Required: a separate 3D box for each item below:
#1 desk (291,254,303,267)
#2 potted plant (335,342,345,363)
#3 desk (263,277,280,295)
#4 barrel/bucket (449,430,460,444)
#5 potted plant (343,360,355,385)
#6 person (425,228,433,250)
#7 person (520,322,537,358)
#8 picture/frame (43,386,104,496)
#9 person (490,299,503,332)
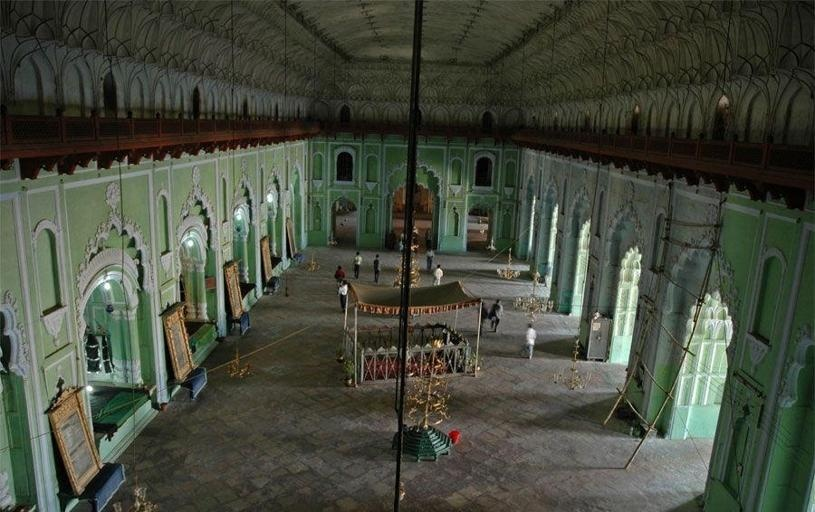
[{"bbox_3d":[-6.000,0.210,27.531,0.420,0.615,1.117,2,5,14],"label":"desk"},{"bbox_3d":[-2.320,3.324,17.255,0.257,0.459,0.754,-1,5,-10],"label":"potted plant"},{"bbox_3d":[-6.308,1.323,23.183,0.543,0.756,0.933,0,5,-1],"label":"desk"},{"bbox_3d":[1.268,4.811,13.453,0.284,0.358,0.199,2,-7,-10],"label":"barrel/bucket"},{"bbox_3d":[-1.853,3.692,15.869,0.282,0.762,0.363,0,6,-8],"label":"potted plant"},{"bbox_3d":[1.392,-1.070,31.729,0.319,1.229,1.127,0,6,-7],"label":"person"},{"bbox_3d":[4.485,3.007,18.284,0.408,1.226,1.258,2,6,13],"label":"person"},{"bbox_3d":[-7.444,4.087,11.274,0.498,2.272,0.965,1,6,4],"label":"picture/frame"},{"bbox_3d":[3.569,2.304,20.295,0.425,1.263,1.771,1,5,10],"label":"person"}]
